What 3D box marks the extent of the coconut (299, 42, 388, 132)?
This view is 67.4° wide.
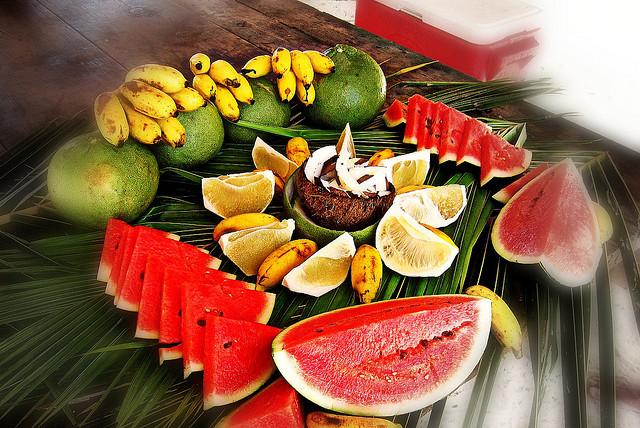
[{"bbox_3d":[0.086,-0.443,1.703,0.261,0.276,0.272,-1,28,-1],"label":"coconut"}]

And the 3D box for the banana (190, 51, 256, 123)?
[{"bbox_3d":[-0.294,-0.409,1.559,0.227,0.090,0.160,43,98,-3],"label":"banana"}]

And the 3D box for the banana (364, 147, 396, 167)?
[{"bbox_3d":[0.187,-0.177,1.485,0.100,0.034,0.049,-37,41,-27],"label":"banana"}]

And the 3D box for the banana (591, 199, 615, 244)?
[{"bbox_3d":[0.815,0.028,1.375,0.023,0.096,0.099,-11,83,20],"label":"banana"}]

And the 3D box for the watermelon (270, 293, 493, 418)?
[{"bbox_3d":[0.144,0.357,1.161,0.448,0.158,0.273,-3,45,-6],"label":"watermelon"}]

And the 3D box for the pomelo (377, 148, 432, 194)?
[{"bbox_3d":[0.268,-0.141,1.502,0.176,0.040,0.124,-24,107,-22],"label":"pomelo"}]

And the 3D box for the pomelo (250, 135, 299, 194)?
[{"bbox_3d":[-0.146,-0.169,1.445,0.202,0.079,0.145,-7,66,-3],"label":"pomelo"}]

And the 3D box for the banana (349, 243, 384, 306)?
[{"bbox_3d":[0.111,0.148,1.205,0.079,0.048,0.141,0,79,7],"label":"banana"}]

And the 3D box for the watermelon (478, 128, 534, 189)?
[{"bbox_3d":[0.594,-0.177,1.555,0.203,0.080,0.159,20,58,-8],"label":"watermelon"}]

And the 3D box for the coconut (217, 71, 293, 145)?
[{"bbox_3d":[-0.222,-0.329,1.654,0.217,0.218,0.213,0,45,-24],"label":"coconut"}]

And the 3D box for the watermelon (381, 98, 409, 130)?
[{"bbox_3d":[0.264,-0.340,1.686,0.036,0.091,0.096,26,28,-25],"label":"watermelon"}]

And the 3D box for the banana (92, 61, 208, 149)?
[{"bbox_3d":[-0.486,-0.301,1.400,0.277,0.085,0.228,34,84,-12],"label":"banana"}]

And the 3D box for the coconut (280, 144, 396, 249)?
[{"bbox_3d":[0.030,-0.010,1.272,0.258,0.176,0.286,6,43,2],"label":"coconut"}]

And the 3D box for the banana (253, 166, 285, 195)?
[{"bbox_3d":[-0.139,-0.094,1.423,0.070,0.030,0.090,-3,56,-31],"label":"banana"}]

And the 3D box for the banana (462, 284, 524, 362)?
[{"bbox_3d":[0.465,0.276,1.216,0.072,0.087,0.250,-26,80,-14],"label":"banana"}]

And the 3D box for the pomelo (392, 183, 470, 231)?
[{"bbox_3d":[0.316,-0.031,1.412,0.220,0.076,0.129,-14,83,-35],"label":"pomelo"}]
